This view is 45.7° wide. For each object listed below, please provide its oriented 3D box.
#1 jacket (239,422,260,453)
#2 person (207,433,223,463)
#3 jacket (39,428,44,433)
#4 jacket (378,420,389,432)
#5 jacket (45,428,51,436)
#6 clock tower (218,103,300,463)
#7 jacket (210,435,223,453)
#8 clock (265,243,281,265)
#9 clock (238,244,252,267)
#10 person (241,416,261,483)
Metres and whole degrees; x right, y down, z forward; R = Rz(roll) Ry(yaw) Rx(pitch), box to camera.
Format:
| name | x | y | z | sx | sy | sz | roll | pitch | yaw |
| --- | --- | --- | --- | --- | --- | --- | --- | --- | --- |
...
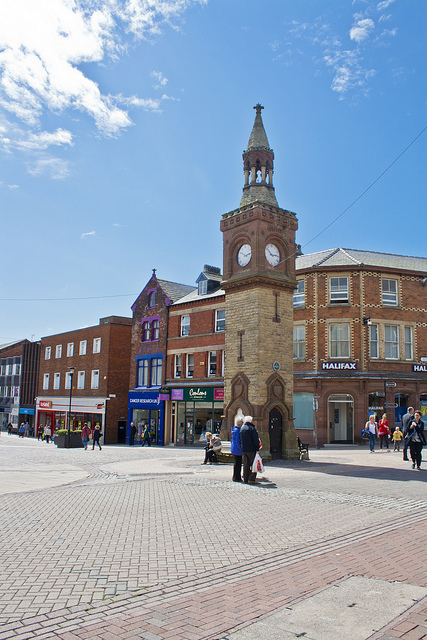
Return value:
| name | x | y | z | sx | sy | sz | roll | pitch | yaw |
| --- | --- | --- | --- | --- | --- | --- | --- | --- | --- |
| jacket | 0.849 | 2.849 | 12.262 | 0.516 | 0.723 | 0.386 | -3 | -12 | 19 |
| person | 0.034 | 4.501 | 17.868 | 0.528 | 0.998 | 1.434 | 1 | -11 | 0 |
| jacket | -16.018 | 10.206 | 47.271 | 0.517 | 0.488 | 0.283 | -2 | -2 | 27 |
| jacket | 8.177 | 5.150 | 24.503 | 0.344 | 0.500 | 0.523 | -2 | -12 | 17 |
| jacket | -12.355 | 8.428 | 38.007 | 0.422 | 0.676 | 0.542 | -1 | -4 | -21 |
| clock tower | 1.557 | -1.891 | 20.276 | 4.307 | 14.133 | 3.942 | 1 | -6 | -5 |
| jacket | 0.056 | 4.273 | 17.398 | 0.364 | 0.557 | 0.423 | 2 | -11 | -4 |
| clock | 2.309 | -2.565 | 19.637 | 0.136 | 0.938 | 0.951 | -7 | -14 | 38 |
| clock | 1.212 | -2.470 | 19.535 | 0.066 | 0.889 | 0.911 | 6 | -9 | -24 |
| person | 0.892 | 3.160 | 12.351 | 0.458 | 1.571 | 0.686 | 1 | -11 | 4 |
